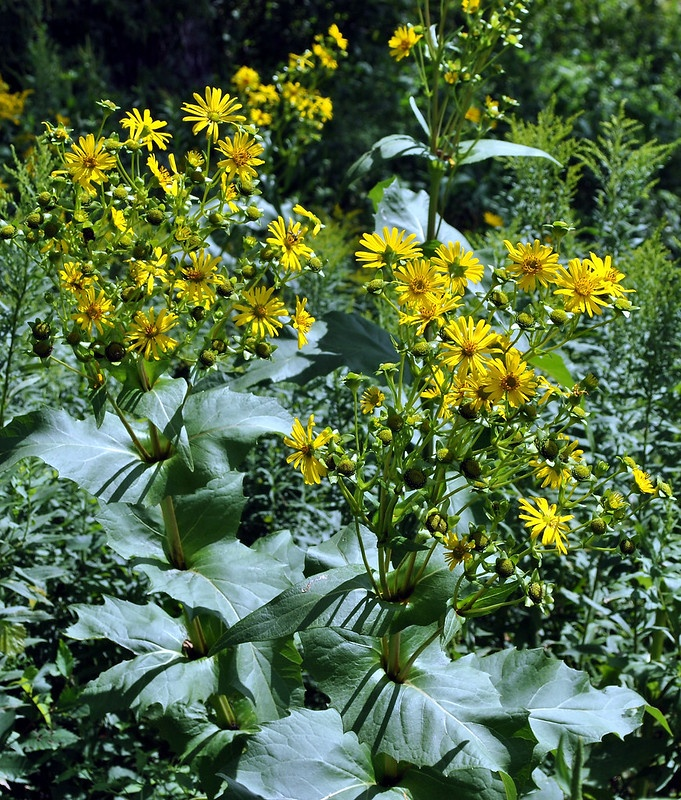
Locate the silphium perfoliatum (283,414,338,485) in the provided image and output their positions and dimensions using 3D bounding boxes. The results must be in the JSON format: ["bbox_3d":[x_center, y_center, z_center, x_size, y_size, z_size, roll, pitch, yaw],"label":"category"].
[{"bbox_3d":[-0.038,0.099,1.659,0.140,0.115,0.047,-10,-6,31],"label":"silphium perfoliatum"}]
